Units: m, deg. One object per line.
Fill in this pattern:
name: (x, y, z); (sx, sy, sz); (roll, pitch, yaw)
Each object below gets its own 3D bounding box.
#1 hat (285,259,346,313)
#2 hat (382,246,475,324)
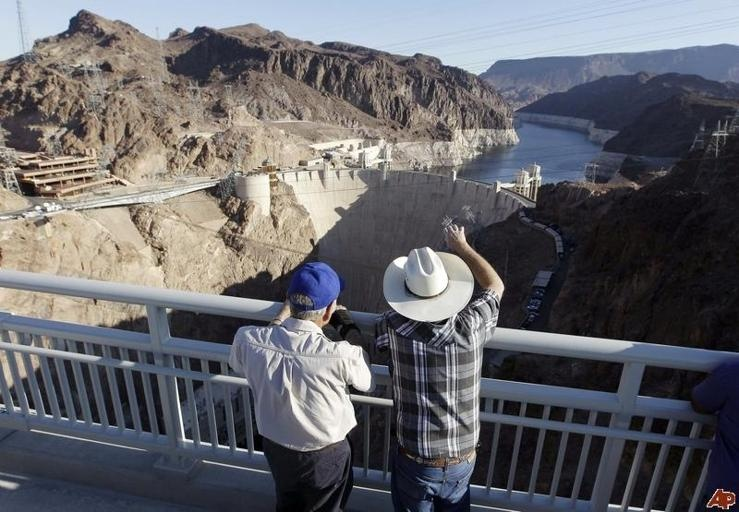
hat: (-0.607, 0.321, 6.964); (0.442, 0.322, 0.619); (18, 39, 19)
hat: (0.627, 0.345, 7.004); (0.863, 0.350, 0.891); (-17, 51, -5)
